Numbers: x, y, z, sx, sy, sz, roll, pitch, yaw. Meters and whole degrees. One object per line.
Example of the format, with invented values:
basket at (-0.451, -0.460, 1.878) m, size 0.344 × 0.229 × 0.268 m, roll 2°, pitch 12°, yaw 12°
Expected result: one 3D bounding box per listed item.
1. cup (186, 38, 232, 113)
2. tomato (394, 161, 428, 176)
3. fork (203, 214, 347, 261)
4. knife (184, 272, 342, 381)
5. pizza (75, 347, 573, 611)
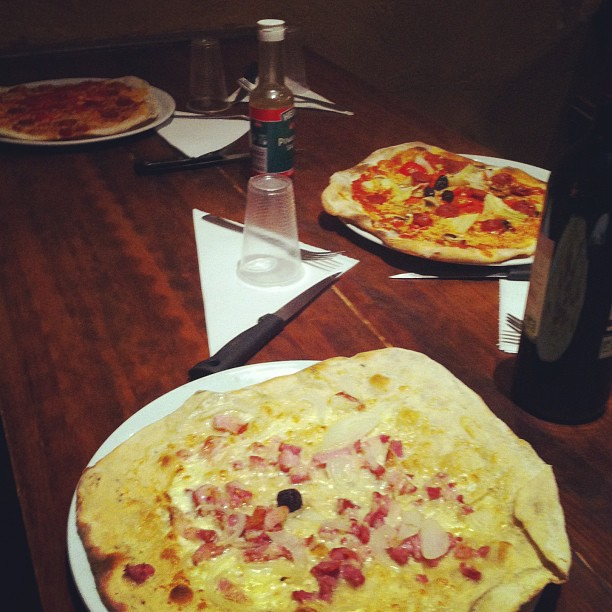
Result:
cup at (-0.267, -0.603, 1.712) m, size 0.121 × 0.162 × 0.205 m, roll -9°, pitch 36°, yaw -6°
tomato at (0.219, -0.283, 1.348) m, size 0.044 × 0.010 × 0.044 m, roll -26°, pitch 38°, yaw -36°
fork at (-0.050, -0.106, 1.046) m, size 0.230 × 0.023 × 0.027 m, roll 20°, pitch 55°, yaw 35°
knife at (0.007, 0.009, 0.896) m, size 0.046 × 0.024 × 0.387 m, roll 28°, pitch 40°, yaw 37°
pizza at (0.009, 0.165, 0.611) m, size 0.425 × 0.045 × 0.331 m, roll -11°, pitch 33°, yaw -15°
